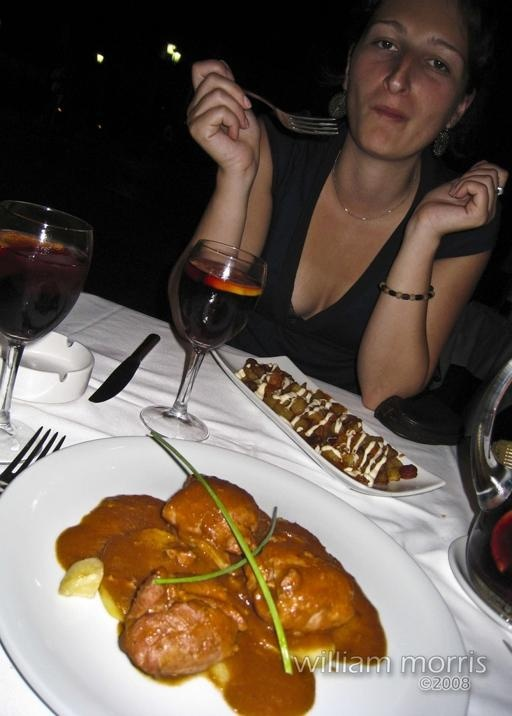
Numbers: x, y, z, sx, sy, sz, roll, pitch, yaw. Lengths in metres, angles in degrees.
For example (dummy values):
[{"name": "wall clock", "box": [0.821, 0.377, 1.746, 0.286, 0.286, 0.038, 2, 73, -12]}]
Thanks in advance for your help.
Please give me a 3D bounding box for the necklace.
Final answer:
[{"name": "necklace", "box": [0.517, -0.704, 2.396, 0.268, 0.080, 0.344, 18, 10, -5]}]
